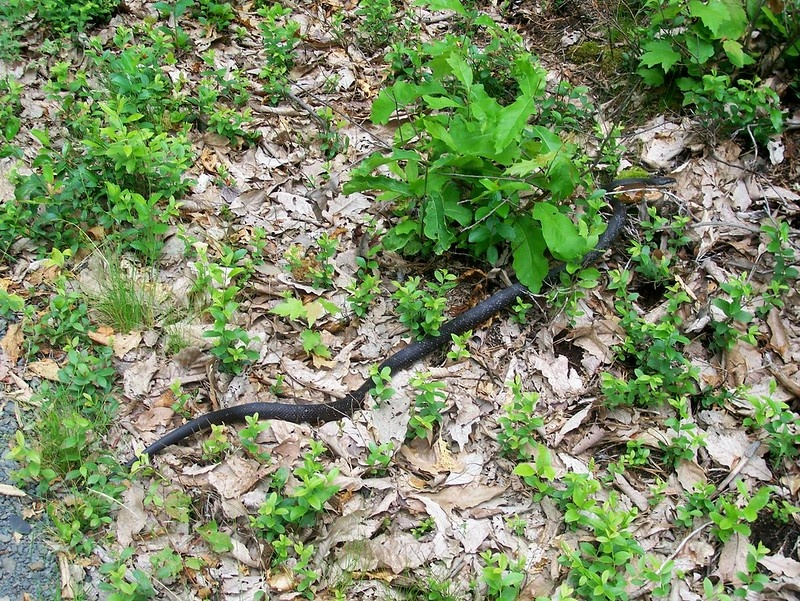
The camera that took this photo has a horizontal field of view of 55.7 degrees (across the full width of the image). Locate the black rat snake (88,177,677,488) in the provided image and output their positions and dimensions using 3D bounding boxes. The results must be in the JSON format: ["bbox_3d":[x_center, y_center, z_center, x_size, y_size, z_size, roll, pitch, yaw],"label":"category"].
[{"bbox_3d":[-0.154,0.345,6.206,4.144,0.487,0.224,-31,44,-11],"label":"black rat snake"}]
